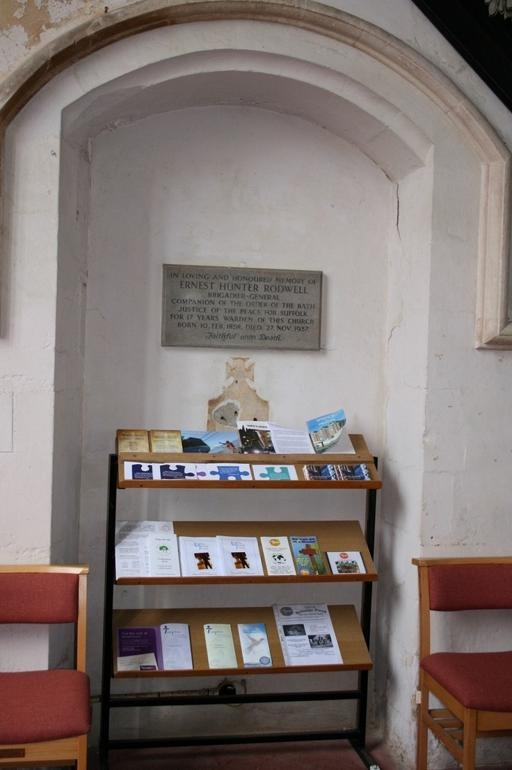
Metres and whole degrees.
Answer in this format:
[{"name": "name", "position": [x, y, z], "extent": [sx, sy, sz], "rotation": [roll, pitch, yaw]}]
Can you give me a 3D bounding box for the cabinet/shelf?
[{"name": "cabinet/shelf", "position": [-0.092, 0.794, 2.477], "extent": [1.116, 1.226, 0.603], "rotation": [2, -10, -11]}]
